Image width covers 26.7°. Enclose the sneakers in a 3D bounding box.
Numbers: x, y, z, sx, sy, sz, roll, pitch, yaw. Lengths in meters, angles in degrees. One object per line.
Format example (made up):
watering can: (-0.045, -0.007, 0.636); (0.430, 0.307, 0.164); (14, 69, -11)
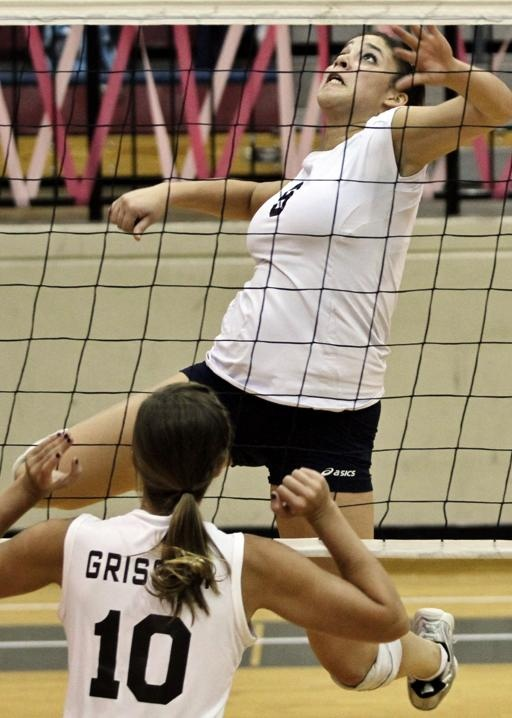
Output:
sneakers: (0.361, 0.596, 2.144); (0.081, 0.221, 0.101); (4, 6, 17)
